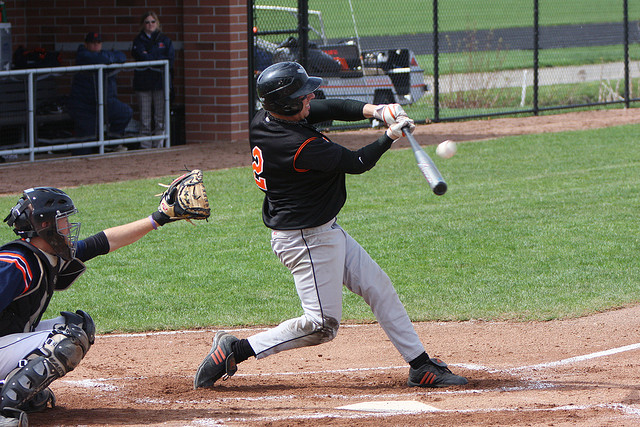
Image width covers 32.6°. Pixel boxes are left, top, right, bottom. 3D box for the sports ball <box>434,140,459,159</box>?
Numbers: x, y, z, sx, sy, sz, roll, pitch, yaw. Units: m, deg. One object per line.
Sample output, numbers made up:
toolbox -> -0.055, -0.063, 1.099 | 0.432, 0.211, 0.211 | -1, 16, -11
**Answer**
sports ball -> 1.308, -0.605, 11.071 | 0.269, 0.154, 0.194 | -11, 27, 23
